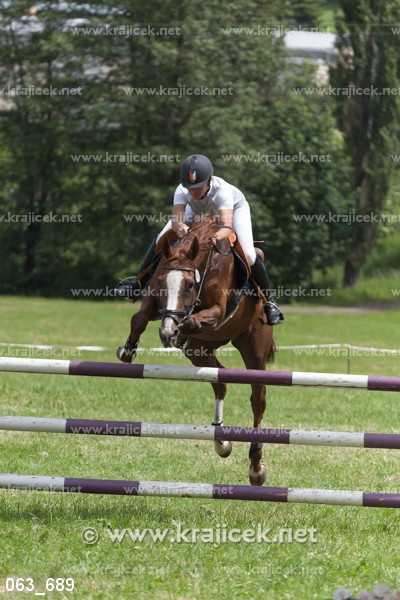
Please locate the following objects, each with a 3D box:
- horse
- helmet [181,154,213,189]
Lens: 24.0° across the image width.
[{"bbox_3d":[0.100,0.393,7.803,0.723,1.428,2.744,0,-27,17],"label":"horse"},{"bbox_3d":[-0.024,-0.997,7.348,0.234,0.264,0.263,5,18,1],"label":"helmet"}]
